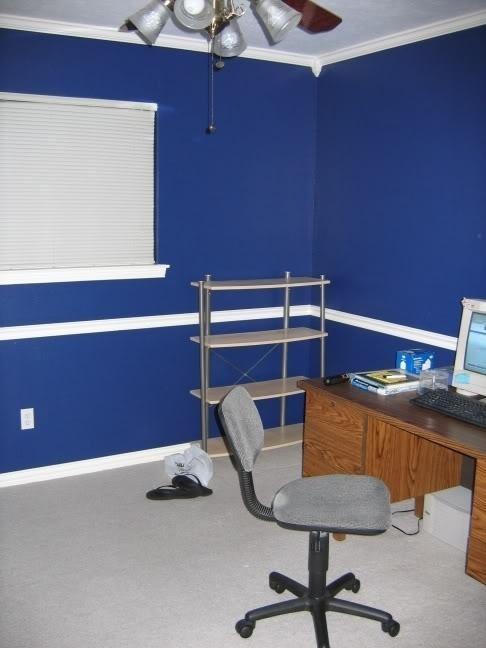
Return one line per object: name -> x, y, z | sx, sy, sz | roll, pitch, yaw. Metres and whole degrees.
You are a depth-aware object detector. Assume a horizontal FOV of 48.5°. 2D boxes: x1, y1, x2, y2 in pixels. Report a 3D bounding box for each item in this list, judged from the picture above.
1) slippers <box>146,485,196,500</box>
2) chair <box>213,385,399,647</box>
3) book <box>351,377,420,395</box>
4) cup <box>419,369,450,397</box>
slippers -> -0.388, 0.912, 2.958 | 0.279, 0.107, 0.093 | 2, 4, -4
chair -> 0.188, 0.595, 2.122 | 0.812, 0.973, 0.702 | 0, 6, 14
book -> 0.653, 0.282, 2.408 | 0.125, 0.029, 0.123 | -3, 9, -25
cup -> 0.863, 0.252, 2.481 | 0.166, 0.118, 0.091 | -4, 7, -19
